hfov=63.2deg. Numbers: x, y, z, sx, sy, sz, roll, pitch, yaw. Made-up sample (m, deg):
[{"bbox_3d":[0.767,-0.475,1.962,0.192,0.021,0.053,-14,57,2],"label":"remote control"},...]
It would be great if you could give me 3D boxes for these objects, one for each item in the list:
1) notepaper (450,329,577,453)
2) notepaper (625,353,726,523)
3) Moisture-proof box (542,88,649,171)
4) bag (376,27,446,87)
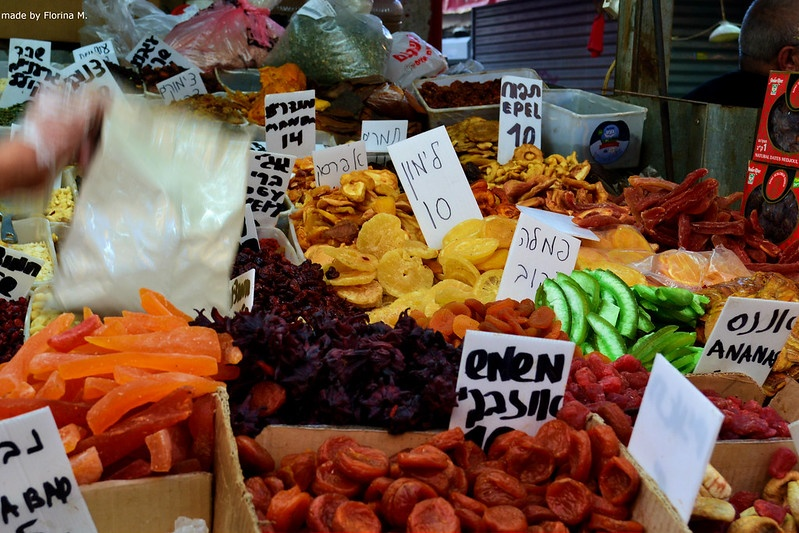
[{"bbox_3d":[0.415,0.475,2.377,0.373,0.438,0.044,13,13,-3],"label":"notepaper"},{"bbox_3d":[0.934,0.606,2.196,0.037,0.525,0.382,-5,32,-25],"label":"notepaper"},{"bbox_3d":[1.323,-1.053,4.870,0.527,0.361,0.827,-6,17,-21],"label":"Moisture-proof box"},{"bbox_3d":[0.121,-1.882,5.950,0.618,0.593,0.204,-26,-11,-34],"label":"bag"}]
